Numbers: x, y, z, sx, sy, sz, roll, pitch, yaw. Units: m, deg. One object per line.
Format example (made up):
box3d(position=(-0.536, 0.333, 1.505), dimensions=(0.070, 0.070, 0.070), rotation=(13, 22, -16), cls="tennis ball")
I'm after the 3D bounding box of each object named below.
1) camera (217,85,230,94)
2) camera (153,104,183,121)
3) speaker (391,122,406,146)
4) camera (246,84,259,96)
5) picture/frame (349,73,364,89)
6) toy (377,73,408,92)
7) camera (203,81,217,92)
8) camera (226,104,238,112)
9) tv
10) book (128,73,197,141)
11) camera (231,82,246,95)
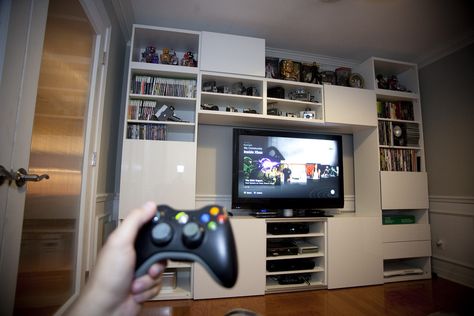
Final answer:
box3d(position=(-0.174, -0.818, 3.792), dimensions=(0.146, 0.103, 0.157), rotation=(1, 7, -5), cls="camera")
box3d(position=(-0.791, -0.478, 3.574), dimensions=(0.246, 0.190, 0.097), rotation=(43, -15, -23), cls="camera")
box3d(position=(2.131, -0.307, 4.191), dimensions=(0.256, 0.241, 0.073), rotation=(-21, 12, -31), cls="speaker")
box3d(position=(0.185, -0.809, 3.860), dimensions=(0.164, 0.152, 0.122), rotation=(2, 5, 22), cls="camera")
box3d(position=(1.559, -1.023, 4.187), dimensions=(0.202, 0.201, 0.056), rotation=(-5, 6, -9), cls="picture/frame")
box3d(position=(2.057, -1.001, 4.274), dimensions=(0.359, 0.159, 0.325), rotation=(-1, 7, -10), cls="toy")
box3d(position=(-0.325, -0.836, 3.735), dimensions=(0.148, 0.125, 0.084), rotation=(-1, -8, 22), cls="camera")
box3d(position=(-0.046, -0.583, 3.821), dimensions=(0.127, 0.049, 0.127), rotation=(2, 2, -40), cls="camera")
box3d(position=(0.566, 0.208, 3.878), dimensions=(1.115, 0.751, 0.164), rotation=(1, -4, -10), cls="tv")
box3d(position=(-0.867, -0.599, 3.583), dimensions=(0.789, 0.729, 0.240), rotation=(3, -8, -12), cls="book")
box3d(position=(0.011, -0.826, 3.788), dimensions=(0.187, 0.191, 0.112), rotation=(1, 0, 26), cls="camera")
